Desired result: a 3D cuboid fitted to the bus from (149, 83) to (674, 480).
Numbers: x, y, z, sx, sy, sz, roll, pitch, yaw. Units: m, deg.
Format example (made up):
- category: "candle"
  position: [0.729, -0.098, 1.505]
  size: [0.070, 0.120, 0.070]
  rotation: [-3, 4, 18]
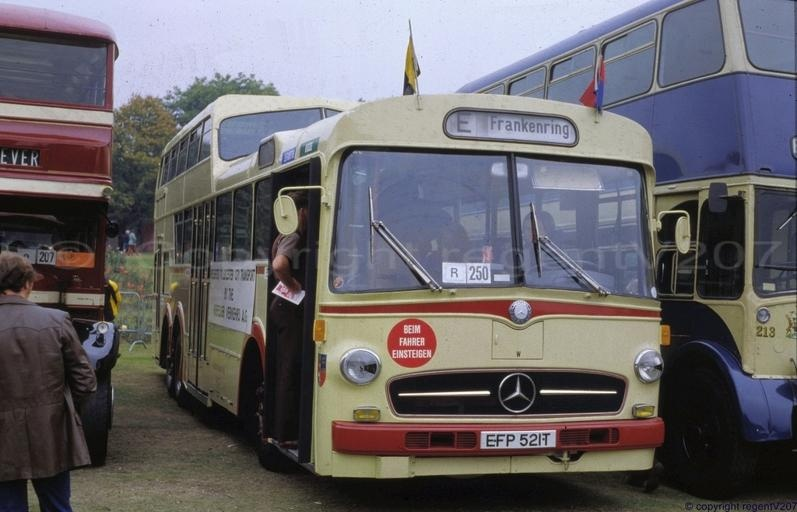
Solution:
- category: "bus"
  position: [-0.839, 0.634, 11.277]
  size: [3.696, 4.283, 9.195]
  rotation: [2, -6, -24]
